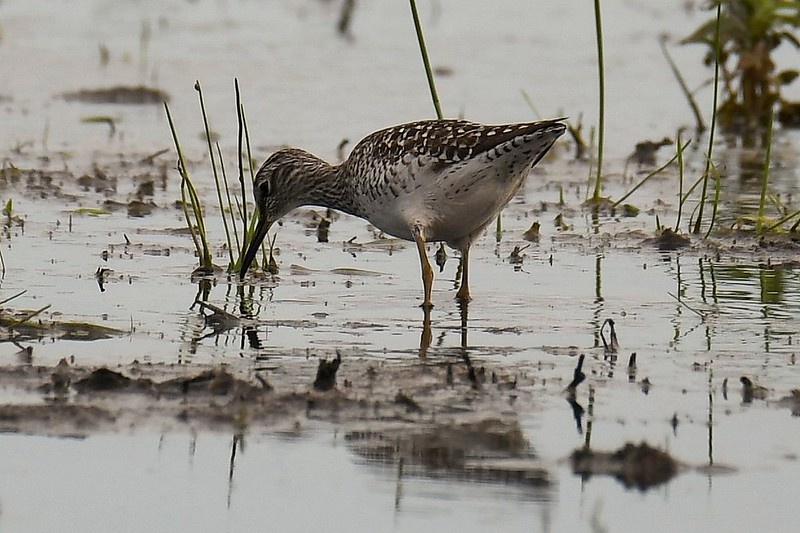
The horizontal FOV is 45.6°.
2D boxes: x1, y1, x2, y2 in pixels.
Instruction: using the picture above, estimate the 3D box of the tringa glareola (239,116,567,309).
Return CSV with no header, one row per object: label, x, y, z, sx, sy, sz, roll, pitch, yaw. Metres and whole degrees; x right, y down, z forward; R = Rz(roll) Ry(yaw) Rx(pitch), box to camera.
tringa glareola,0.009,-0.392,7.337,2.843,1.364,0.875,-5,-1,33
